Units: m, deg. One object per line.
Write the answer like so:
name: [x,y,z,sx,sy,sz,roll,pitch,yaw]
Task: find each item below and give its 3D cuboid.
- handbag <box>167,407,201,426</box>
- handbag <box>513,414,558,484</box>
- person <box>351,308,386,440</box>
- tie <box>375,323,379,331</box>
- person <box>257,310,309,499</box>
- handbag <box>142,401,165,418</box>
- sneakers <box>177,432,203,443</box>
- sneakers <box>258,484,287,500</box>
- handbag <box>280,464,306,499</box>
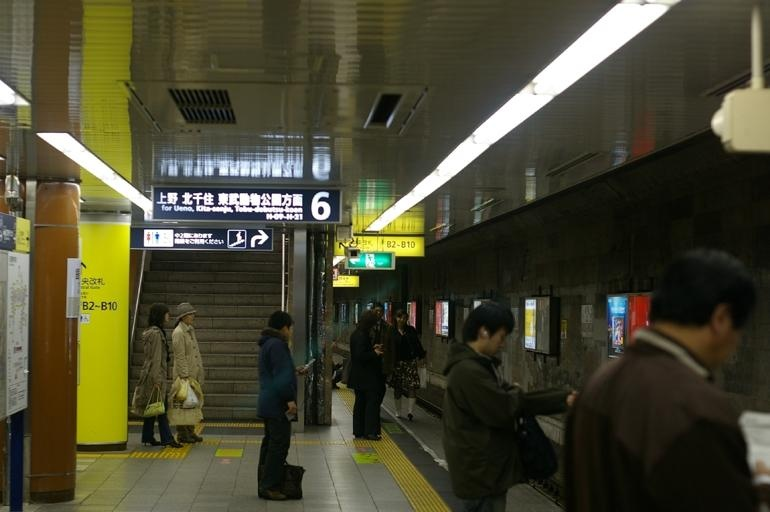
handbag: [-2.941,2.365,9.895,0.387,0.269,0.291,3,-12,-16]
handbag: [0.977,1.246,4.387,0.201,0.475,0.231,-8,-36,-3]
person: [-0.318,1.977,11.175,0.565,2.114,0.412,1,-7,3]
tie: [-0.155,1.419,13.350,0.046,0.161,0.175,0,-1,11]
person: [-1.232,1.686,7.582,0.461,2.122,0.596,2,-7,-4]
handbag: [-3.289,2.170,9.538,0.265,0.248,0.109,-5,-46,-2]
sneakers: [-3.041,2.812,10.458,0.443,0.174,0.145,1,-1,-15]
sneakers: [-1.275,2.694,7.670,0.283,0.132,0.137,2,-3,-3]
handbag: [-1.068,2.574,7.725,0.284,0.343,0.183,8,1,-11]
